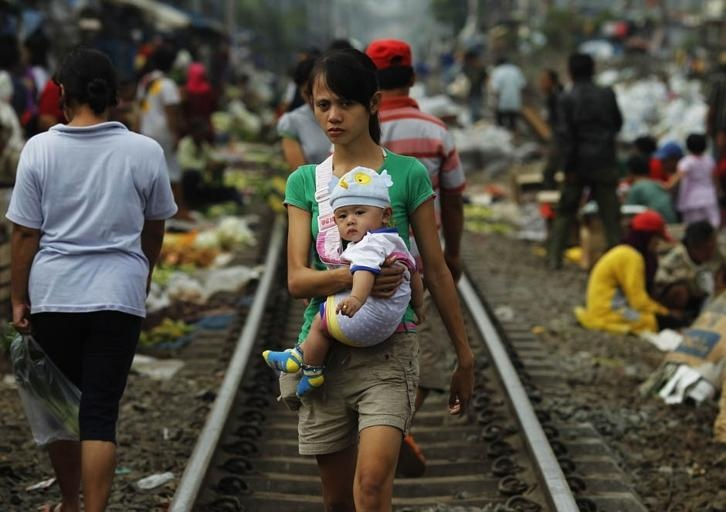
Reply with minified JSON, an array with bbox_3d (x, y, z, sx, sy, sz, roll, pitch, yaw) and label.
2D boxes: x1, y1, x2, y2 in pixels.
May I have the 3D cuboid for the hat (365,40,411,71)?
[{"bbox_3d":[0.180,-1.402,7.289,0.358,0.174,0.516,-1,9,2],"label":"hat"}]

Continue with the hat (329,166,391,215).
[{"bbox_3d":[-0.004,-0.383,6.232,0.330,0.226,0.230,5,-12,-39],"label":"hat"}]
